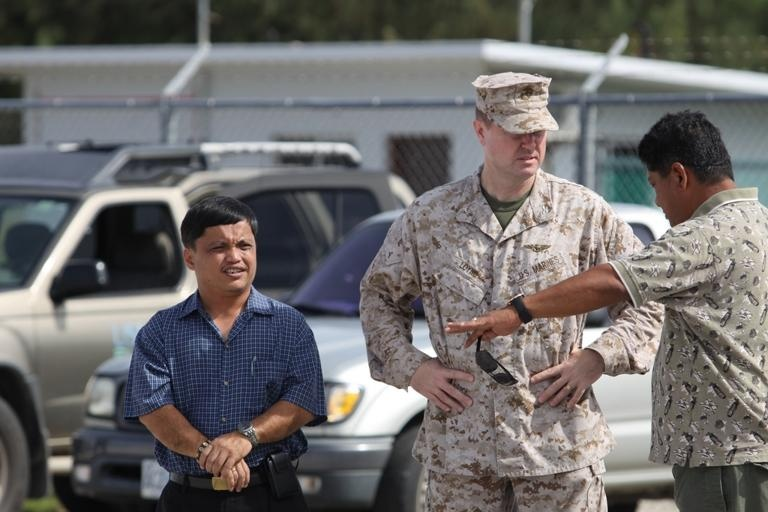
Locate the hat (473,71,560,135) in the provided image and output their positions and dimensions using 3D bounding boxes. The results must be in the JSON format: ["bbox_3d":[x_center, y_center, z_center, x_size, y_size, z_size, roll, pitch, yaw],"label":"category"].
[{"bbox_3d":[0.912,-1.053,12.306,0.523,0.317,0.625,-17,25,-37],"label":"hat"}]

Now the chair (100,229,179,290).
[{"bbox_3d":[-2.147,0.010,16.514,0.736,0.403,0.451,1,-3,-11],"label":"chair"}]

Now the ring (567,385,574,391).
[{"bbox_3d":[1.239,0.843,12.125,0.034,0.035,0.009,-2,7,-6],"label":"ring"}]

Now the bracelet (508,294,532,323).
[{"bbox_3d":[0.884,0.312,11.927,0.131,0.175,0.195,-31,6,1],"label":"bracelet"}]

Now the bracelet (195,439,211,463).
[{"bbox_3d":[-1.181,1.254,12.200,0.086,0.124,0.136,22,41,11],"label":"bracelet"}]
